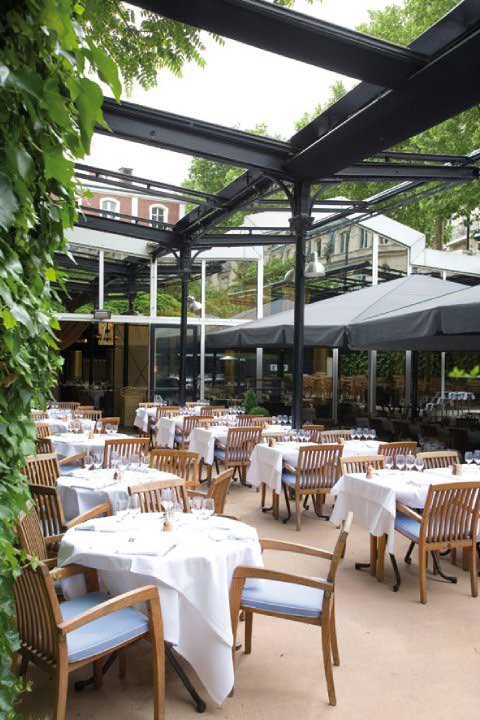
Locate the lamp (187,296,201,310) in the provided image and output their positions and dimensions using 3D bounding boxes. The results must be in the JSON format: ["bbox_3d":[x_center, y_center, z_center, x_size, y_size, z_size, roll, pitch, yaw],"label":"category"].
[{"bbox_3d":[-1.196,-1.537,14.570,0.369,0.360,0.399,2,-1,-3],"label":"lamp"}]

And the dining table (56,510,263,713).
[{"bbox_3d":[-0.272,1.119,2.917,0.845,0.621,0.855,4,5,44],"label":"dining table"}]

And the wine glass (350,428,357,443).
[{"bbox_3d":[1.545,1.037,7.458,0.123,0.236,0.135,-3,-1,12],"label":"wine glass"}]

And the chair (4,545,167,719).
[{"bbox_3d":[-0.671,1.229,2.488,0.683,0.666,0.470,3,-1,-25],"label":"chair"}]

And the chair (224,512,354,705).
[{"bbox_3d":[0.264,1.362,3.173,0.601,0.972,0.644,1,3,3],"label":"chair"}]
